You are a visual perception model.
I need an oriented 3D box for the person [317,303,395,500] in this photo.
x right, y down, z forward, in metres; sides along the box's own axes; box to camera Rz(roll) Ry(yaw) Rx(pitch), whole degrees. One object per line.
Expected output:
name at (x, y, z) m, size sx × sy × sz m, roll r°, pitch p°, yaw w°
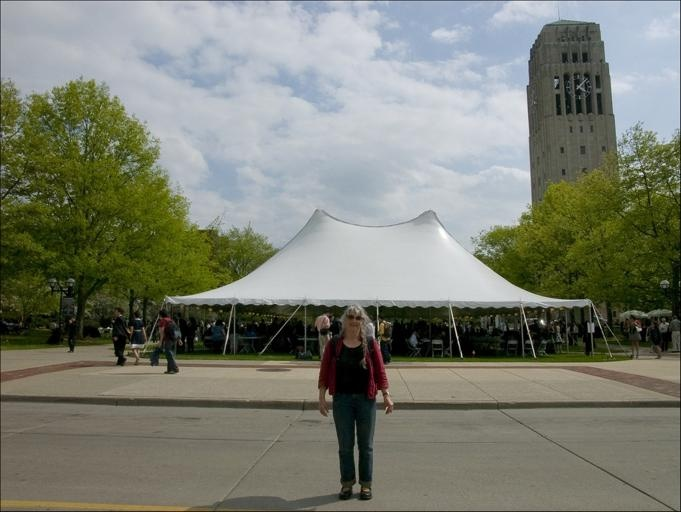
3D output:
person at (0.184, 1.768, 7.921) m, size 0.886 × 2.306 × 0.424 m, roll 0°, pitch -7°, yaw -2°

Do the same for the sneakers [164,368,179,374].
sneakers at (-4.682, 3.168, 17.675) m, size 0.400 × 0.168 × 0.144 m, roll 3°, pitch -10°, yaw 3°

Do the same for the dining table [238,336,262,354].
dining table at (-4.015, 3.855, 27.636) m, size 0.920 × 0.565 × 0.928 m, roll -1°, pitch -2°, yaw 8°

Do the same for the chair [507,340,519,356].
chair at (7.337, 3.856, 27.046) m, size 0.555 × 0.760 × 0.580 m, roll -1°, pitch -22°, yaw 12°

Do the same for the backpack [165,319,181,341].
backpack at (-4.743, 2.066, 17.930) m, size 0.276 × 0.594 × 0.677 m, roll 0°, pitch -8°, yaw 0°

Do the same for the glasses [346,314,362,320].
glasses at (0.172, 0.759, 7.865) m, size 0.176 × 0.065 × 0.053 m, roll 3°, pitch -8°, yaw -21°

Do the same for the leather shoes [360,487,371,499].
leather shoes at (0.302, 2.828, 7.667) m, size 0.157 × 0.126 × 0.161 m, roll 0°, pitch -8°, yaw -1°

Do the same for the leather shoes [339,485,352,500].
leather shoes at (0.064, 2.830, 7.729) m, size 0.160 × 0.152 × 0.207 m, roll -1°, pitch -8°, yaw 4°

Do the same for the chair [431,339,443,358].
chair at (3.941, 3.755, 26.006) m, size 0.627 × 0.893 × 0.657 m, roll -1°, pitch -18°, yaw 6°
